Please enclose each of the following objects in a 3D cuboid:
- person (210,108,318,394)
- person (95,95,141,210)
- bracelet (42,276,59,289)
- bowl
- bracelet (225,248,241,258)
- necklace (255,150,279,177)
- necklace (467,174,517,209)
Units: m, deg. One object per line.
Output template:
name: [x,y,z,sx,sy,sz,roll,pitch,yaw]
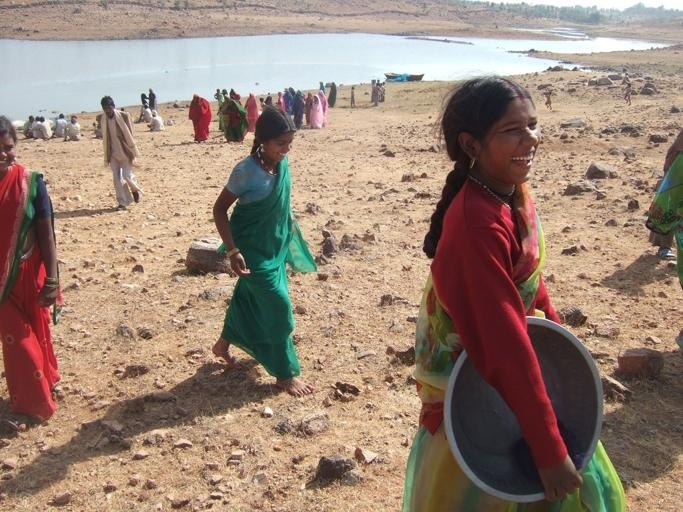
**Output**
person: [-0.660,-0.022,6.265,0.850,2.400,0.733,-11,21,-20]
person: [-3.436,-1.634,11.547,0.439,1.718,0.609,8,23,28]
bracelet: [-2.357,0.211,6.062,0.094,0.069,0.095,3,-1,43]
bowl: [1.012,0.892,4.155,0.900,1.053,0.507,-12,21,-23]
bracelet: [-0.885,-0.051,6.085,0.099,0.076,0.192,-5,19,-6]
necklace: [-0.625,-0.768,6.175,0.165,0.211,0.054,-29,-13,-8]
necklace: [0.883,-0.343,4.306,0.250,0.116,0.202,30,12,6]
